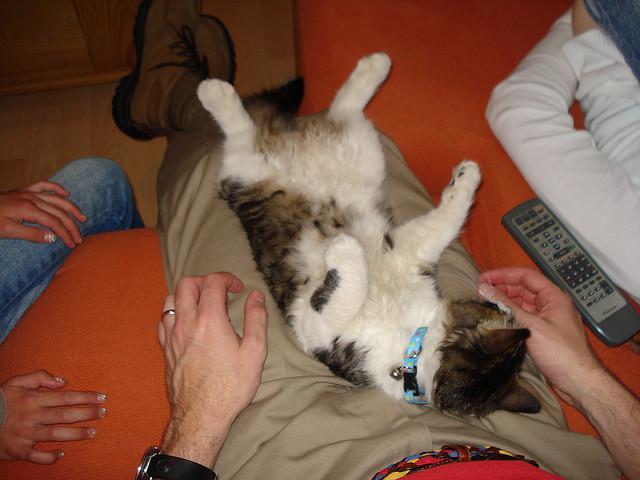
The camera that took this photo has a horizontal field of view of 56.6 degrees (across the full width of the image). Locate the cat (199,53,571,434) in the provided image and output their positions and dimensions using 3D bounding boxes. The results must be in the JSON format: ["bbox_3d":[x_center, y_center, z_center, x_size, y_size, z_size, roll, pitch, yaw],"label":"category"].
[{"bbox_3d":[0.145,0.073,2.652,1.080,0.752,1.818,-7,64,-18],"label":"cat"}]

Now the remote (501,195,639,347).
[{"bbox_3d":[1.045,0.145,2.603,0.296,0.107,0.820,-31,78,-1],"label":"remote"}]

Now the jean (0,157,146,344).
[{"bbox_3d":[-1.128,-0.012,2.466,0.761,0.256,0.448,-31,97,-24],"label":"jean"}]
